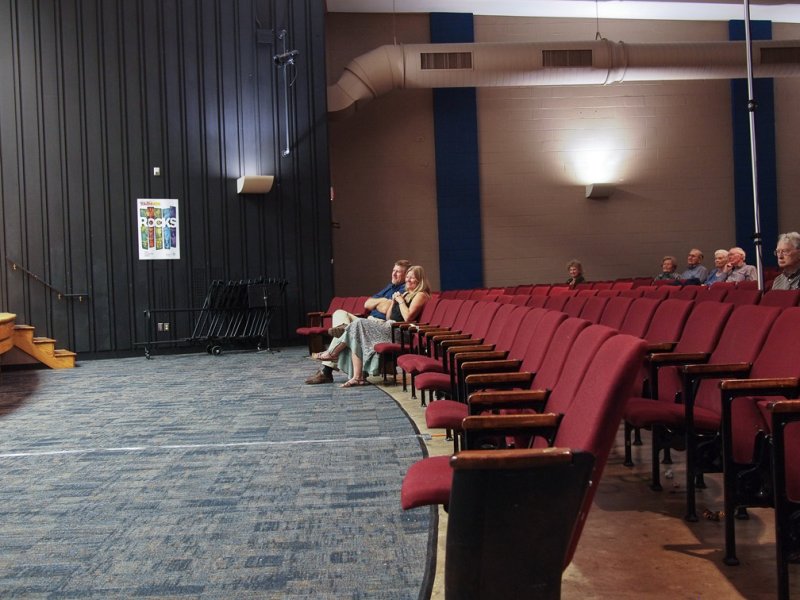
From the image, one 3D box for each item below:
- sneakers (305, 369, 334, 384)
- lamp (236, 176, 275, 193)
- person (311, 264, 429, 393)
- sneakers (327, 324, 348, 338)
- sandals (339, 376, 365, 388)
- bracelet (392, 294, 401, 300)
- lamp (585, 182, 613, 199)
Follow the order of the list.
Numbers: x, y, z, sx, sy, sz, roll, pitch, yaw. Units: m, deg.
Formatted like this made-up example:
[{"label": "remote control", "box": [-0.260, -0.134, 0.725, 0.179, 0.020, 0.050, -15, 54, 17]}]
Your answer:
[{"label": "sneakers", "box": [-0.692, 0.683, 5.995, 0.323, 0.143, 0.110, 3, -6, -28]}, {"label": "lamp", "box": [-2.002, -1.623, 9.215, 0.525, 0.258, 0.374, -3, 7, -11]}, {"label": "person", "box": [-0.257, 0.203, 5.901, 0.889, 1.116, 0.605, 9, -6, -9]}, {"label": "sneakers", "box": [-0.530, 0.268, 5.954, 0.227, 0.099, 0.078, -2, -9, -2]}, {"label": "sandals", "box": [-0.411, 0.700, 5.672, 0.203, 0.078, 0.082, 3, -12, -9]}, {"label": "bracelet", "box": [-0.024, -0.041, 6.006, 0.042, 0.059, 0.021, 5, 50, 10]}, {"label": "lamp", "box": [3.375, -1.848, 11.204, 0.480, 0.236, 0.360, -1, 6, 4]}]
